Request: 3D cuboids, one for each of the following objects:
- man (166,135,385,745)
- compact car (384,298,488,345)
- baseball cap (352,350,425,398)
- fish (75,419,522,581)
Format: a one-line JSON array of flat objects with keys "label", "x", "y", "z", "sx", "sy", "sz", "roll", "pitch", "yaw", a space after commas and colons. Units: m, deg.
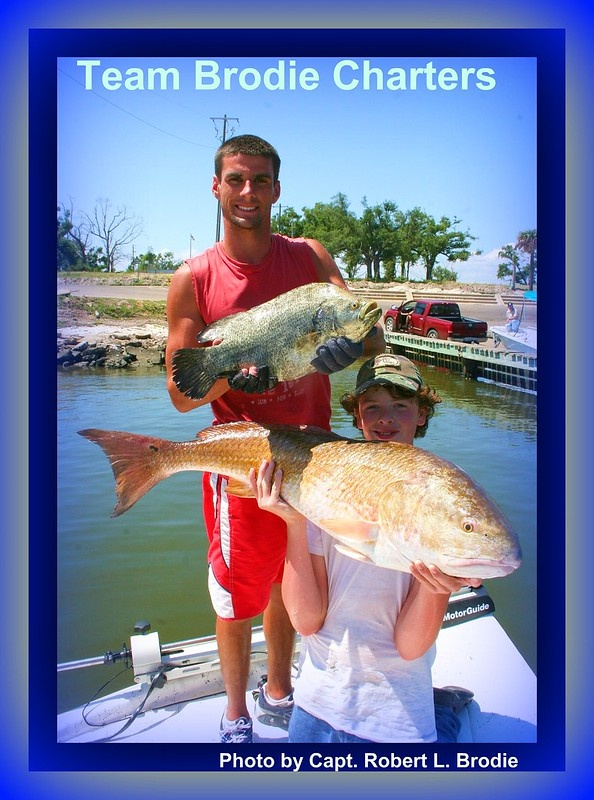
[{"label": "man", "x": -0.054, "y": 0.238, "z": 3.079, "sx": 1.022, "sy": 2.925, "sz": 0.987, "roll": -3, "pitch": 6, "yaw": -15}, {"label": "compact car", "x": 3.945, "y": -2.281, "z": 18.611, "sx": 1.072, "sy": 1.095, "sz": 3.505, "roll": -5, "pitch": 11, "yaw": -24}, {"label": "baseball cap", "x": 0.323, "y": -0.099, "z": 2.307, "sx": 0.158, "sy": 0.117, "sz": 0.204, "roll": -4, "pitch": -29, "yaw": 9}, {"label": "fish", "x": -0.014, "y": 0.302, "z": 2.230, "sx": 1.457, "sy": 0.402, "sz": 0.325, "roll": 10, "pitch": 8, "yaw": 20}]
